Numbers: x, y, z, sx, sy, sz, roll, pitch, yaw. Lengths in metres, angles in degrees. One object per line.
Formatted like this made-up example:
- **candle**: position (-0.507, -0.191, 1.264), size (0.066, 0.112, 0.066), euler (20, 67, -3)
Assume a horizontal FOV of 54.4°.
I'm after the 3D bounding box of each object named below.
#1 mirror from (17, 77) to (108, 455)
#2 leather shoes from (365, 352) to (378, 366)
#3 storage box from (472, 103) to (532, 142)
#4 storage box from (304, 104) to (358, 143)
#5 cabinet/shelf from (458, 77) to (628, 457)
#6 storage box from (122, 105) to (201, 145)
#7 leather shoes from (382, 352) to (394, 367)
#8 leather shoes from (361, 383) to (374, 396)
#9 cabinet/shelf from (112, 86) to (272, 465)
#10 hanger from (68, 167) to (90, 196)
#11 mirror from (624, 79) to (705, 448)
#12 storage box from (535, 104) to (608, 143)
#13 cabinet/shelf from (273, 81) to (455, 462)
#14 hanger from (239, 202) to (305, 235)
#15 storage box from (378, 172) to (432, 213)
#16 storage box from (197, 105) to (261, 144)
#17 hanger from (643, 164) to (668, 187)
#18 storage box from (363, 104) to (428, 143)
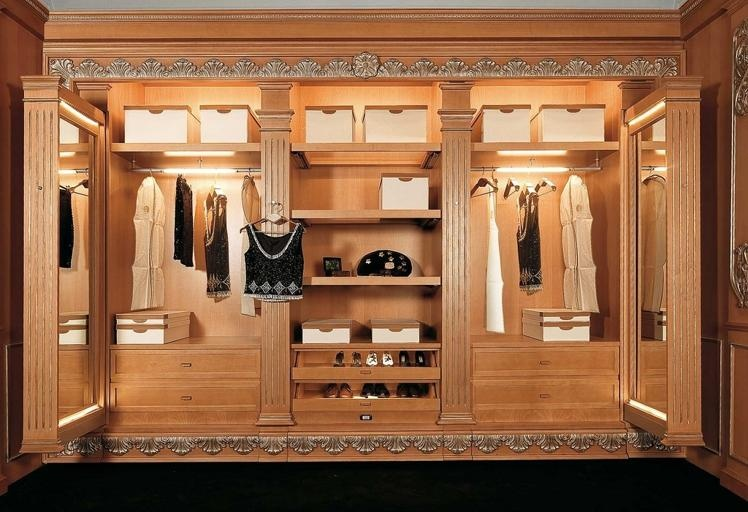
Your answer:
- **mirror**: position (-2.531, 0.062, 6.074), size (0.287, 2.984, 0.797), euler (-1, -2, 21)
- **leather shoes**: position (-0.013, 0.913, 6.460), size (0.122, 0.169, 0.098), euler (1, -8, -4)
- **storage box**: position (1.172, -1.183, 6.526), size (0.341, 0.220, 0.350), euler (0, 1, 1)
- **storage box**: position (-0.385, -1.174, 6.489), size (0.336, 0.216, 0.347), euler (0, 2, 0)
- **cabinet/shelf**: position (1.445, 0.038, 6.697), size (1.484, 3.349, 0.645), euler (0, -2, -2)
- **storage box**: position (-1.901, -1.141, 6.583), size (0.406, 0.206, 0.416), euler (0, 3, -2)
- **leather shoes**: position (0.125, 0.927, 6.495), size (0.119, 0.046, 0.192), euler (0, 1, 0)
- **leather shoes**: position (-0.046, 1.198, 6.513), size (0.102, 0.112, 0.260), euler (1, 0, 2)
- **cabinet/shelf**: position (-1.503, 0.060, 6.652), size (1.584, 3.361, 0.666), euler (0, -2, 3)
- **hanger**: position (-2.463, -0.635, 6.198), size (0.070, 0.240, 0.087), euler (1, 24, -31)
- **mirror**: position (2.363, 0.038, 6.140), size (0.263, 2.971, 0.750), euler (1, -2, -29)
- **storage box**: position (1.760, -1.180, 6.399), size (0.387, 0.246, 0.396), euler (0, 1, 5)
- **cabinet/shelf**: position (0.058, 0.070, 6.648), size (1.661, 3.406, 0.640), euler (0, -2, 2)
- **hanger**: position (-0.873, -0.350, 6.540), size (0.535, 0.240, 0.555), euler (0, -1, -6)
- **storage box**: position (0.276, -0.556, 6.403), size (0.332, 0.213, 0.340), euler (0, -2, -1)
- **storage box**: position (-1.300, -1.174, 6.624), size (0.372, 0.239, 0.384), euler (-1, 0, 0)
- **hanger**: position (2.362, -0.654, 6.159), size (0.266, 0.178, 0.132), euler (4, 8, 32)
- **storage box**: position (0.203, -1.166, 6.502), size (0.379, 0.241, 0.389), euler (0, 3, -1)
